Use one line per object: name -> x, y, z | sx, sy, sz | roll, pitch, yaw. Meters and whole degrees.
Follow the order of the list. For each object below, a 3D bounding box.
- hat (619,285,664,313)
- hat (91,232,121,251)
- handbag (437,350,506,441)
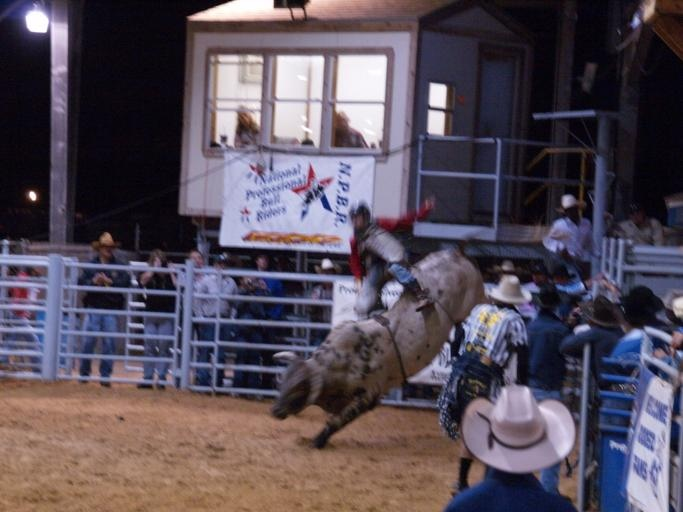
hat -> 4.343, 0.608, 18.565 | 0.646, 0.297, 0.448 | 1, -1, -3
hat -> -5.134, -0.316, 27.803 | 0.489, 0.273, 0.625 | 2, -12, -18
handbag -> 2.046, 2.215, 19.523 | 0.474, 1.270, 0.937 | 23, 3, -37
